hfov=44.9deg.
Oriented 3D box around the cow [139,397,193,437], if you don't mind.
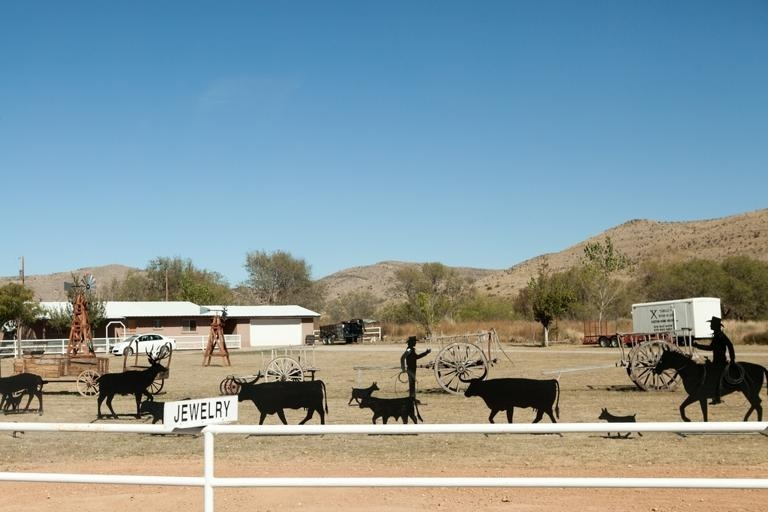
[{"bbox_3d":[-6.592,4.417,26.458,0.609,0.623,1.069,0,-6,-17],"label":"cow"}]
